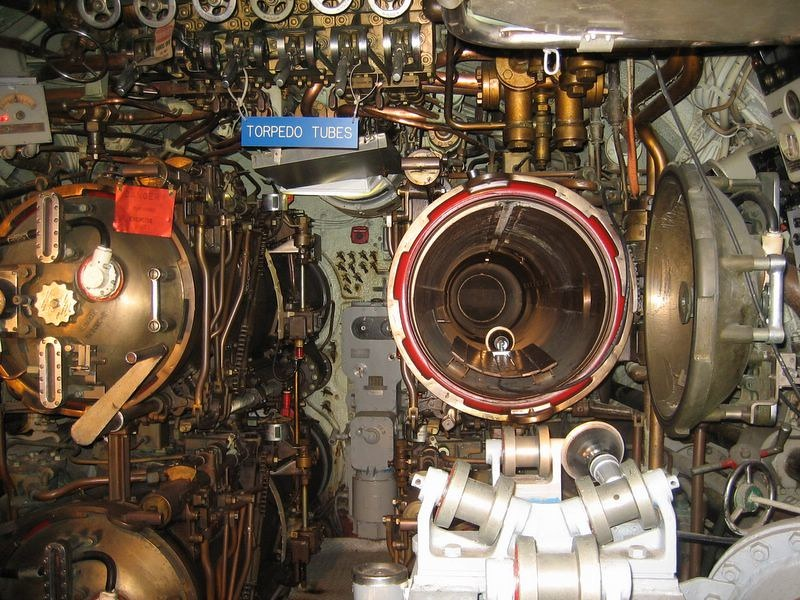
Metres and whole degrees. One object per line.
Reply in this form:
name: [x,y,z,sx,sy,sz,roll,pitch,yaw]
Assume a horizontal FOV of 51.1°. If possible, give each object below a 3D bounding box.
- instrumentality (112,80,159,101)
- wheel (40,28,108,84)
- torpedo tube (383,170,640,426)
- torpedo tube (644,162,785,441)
instrumentality: [-1.960,-1.557,6.175,0.164,0.084,0.222,0,2,-40]
wheel: [-2.426,-1.842,6.261,0.326,0.329,0.321,23,14,-6]
torpedo tube: [0.832,-0.002,5.922,1.504,1.569,1.646,-28,-3,6]
torpedo tube: [1.848,0.027,4.982,0.578,1.466,1.548,-1,19,8]
